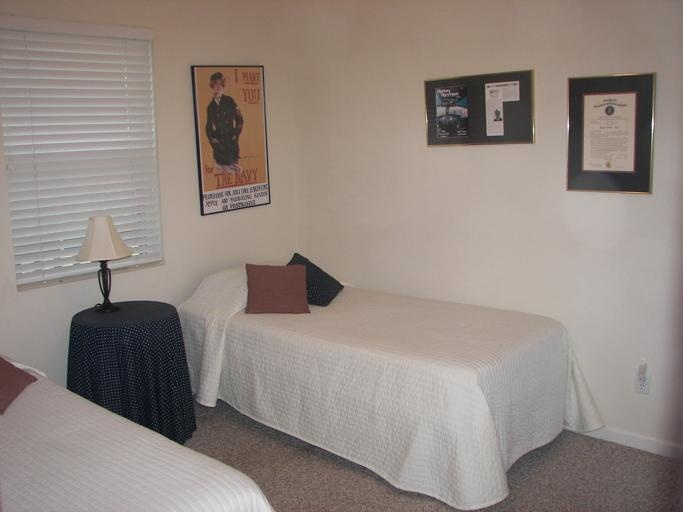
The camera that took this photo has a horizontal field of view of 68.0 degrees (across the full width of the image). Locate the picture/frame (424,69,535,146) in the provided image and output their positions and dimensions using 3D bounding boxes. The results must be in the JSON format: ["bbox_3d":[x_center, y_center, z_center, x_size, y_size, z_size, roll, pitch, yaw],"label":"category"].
[{"bbox_3d":[0.972,-1.039,3.580,0.744,0.488,0.010,5,31,28],"label":"picture/frame"}]

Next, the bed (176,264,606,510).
[{"bbox_3d":[0.165,0.705,3.237,1.967,0.757,1.239,9,21,32],"label":"bed"}]

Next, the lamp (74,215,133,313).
[{"bbox_3d":[-1.566,0.047,3.312,0.352,0.627,0.373,6,12,21],"label":"lamp"}]

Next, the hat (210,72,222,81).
[{"bbox_3d":[-0.987,-1.407,3.956,0.078,0.043,0.051,-16,10,29],"label":"hat"}]
